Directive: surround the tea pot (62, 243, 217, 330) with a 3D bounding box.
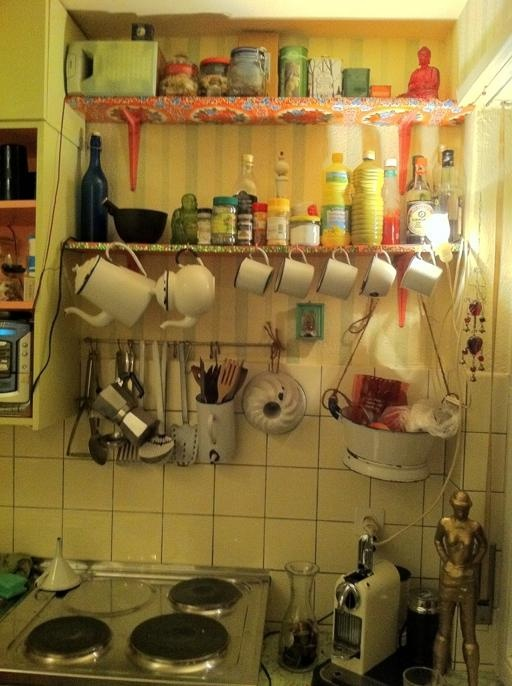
[{"bbox_3d":[-0.297,-0.139,1.643,0.379,0.238,0.286,-2,8,-4],"label":"tea pot"}]

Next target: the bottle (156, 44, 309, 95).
[{"bbox_3d":[-0.057,-0.692,1.654,0.379,0.138,0.152,0,8,6],"label":"bottle"}]

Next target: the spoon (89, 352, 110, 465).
[{"bbox_3d":[-0.432,0.179,1.797,0.061,0.312,0.052,-3,-2,24],"label":"spoon"}]

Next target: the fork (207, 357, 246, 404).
[{"bbox_3d":[-0.073,0.097,1.682,0.069,0.125,0.026,25,3,14],"label":"fork"}]

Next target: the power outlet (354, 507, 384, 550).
[{"bbox_3d":[0.303,0.483,1.714,0.100,0.095,0.032,5,16,9],"label":"power outlet"}]

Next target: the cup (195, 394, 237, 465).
[{"bbox_3d":[-0.103,0.243,1.693,0.107,0.196,0.134,-1,8,-2],"label":"cup"}]

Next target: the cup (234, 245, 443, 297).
[{"bbox_3d":[0.195,-0.172,1.579,0.487,0.118,0.141,-1,8,2],"label":"cup"}]

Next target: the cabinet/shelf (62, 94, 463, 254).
[{"bbox_3d":[0.030,-0.515,1.677,1.004,0.219,0.193,2,8,6],"label":"cabinet/shelf"}]

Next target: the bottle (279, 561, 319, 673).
[{"bbox_3d":[0.103,0.665,1.540,0.094,0.230,0.120,0,8,5],"label":"bottle"}]

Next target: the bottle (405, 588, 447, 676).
[{"bbox_3d":[0.398,0.695,1.546,0.102,0.144,0.096,9,-19,3],"label":"bottle"}]
